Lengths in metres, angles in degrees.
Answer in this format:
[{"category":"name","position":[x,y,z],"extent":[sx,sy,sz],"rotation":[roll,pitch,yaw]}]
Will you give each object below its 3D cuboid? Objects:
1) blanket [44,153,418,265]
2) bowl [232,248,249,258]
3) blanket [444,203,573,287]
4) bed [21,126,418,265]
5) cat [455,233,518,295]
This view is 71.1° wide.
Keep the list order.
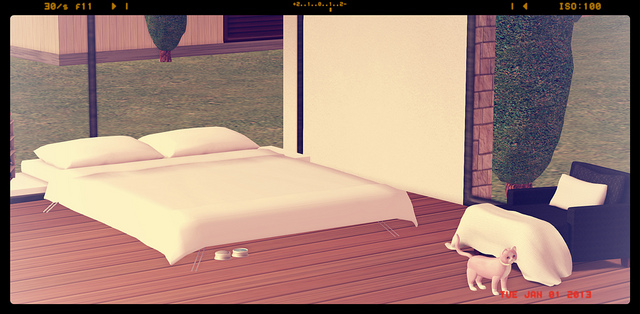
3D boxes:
[{"category":"blanket","position":[-1.169,0.403,6.222],"extent":[3.023,0.304,2.508],"rotation":[-9,25,-42]},{"category":"bowl","position":[-0.974,1.180,5.497],"extent":[0.196,0.077,0.144],"rotation":[-5,24,-8]},{"category":"blanket","position":[2.287,0.988,5.227],"extent":[0.586,0.617,1.248],"rotation":[-26,34,-37]},{"category":"bed","position":[-1.755,0.351,6.086],"extent":[3.150,0.467,3.252],"rotation":[-7,14,-35]},{"category":"cat","position":[1.846,1.224,4.932],"extent":[0.321,0.461,0.815],"rotation":[9,-11,-29]}]
